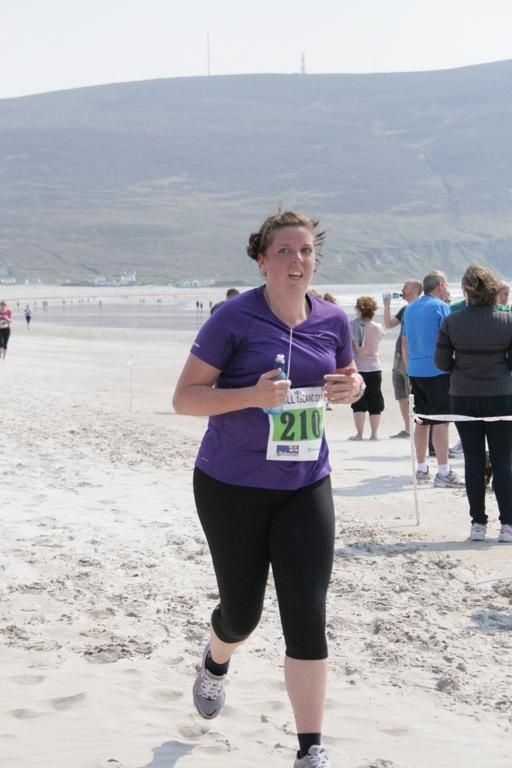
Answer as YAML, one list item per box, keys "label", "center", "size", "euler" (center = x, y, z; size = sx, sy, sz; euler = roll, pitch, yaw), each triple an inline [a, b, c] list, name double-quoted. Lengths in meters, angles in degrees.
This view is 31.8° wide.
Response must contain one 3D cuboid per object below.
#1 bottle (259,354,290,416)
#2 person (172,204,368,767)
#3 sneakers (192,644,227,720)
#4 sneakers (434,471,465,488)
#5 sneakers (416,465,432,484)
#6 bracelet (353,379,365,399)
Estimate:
- label: "bottle"
  center: [0.064, 0.004, 2.902]
  size: [0.076, 0.206, 0.192]
  euler: [1, 2, 1]
- label: "person"
  center: [0.025, 0.322, 3.067]
  size: [0.616, 1.834, 0.623]
  euler: [1, 2, 10]
- label: "sneakers"
  center: [-0.188, 1.118, 3.431]
  size: [0.117, 0.301, 0.137]
  euler: [2, 4, -18]
- label: "sneakers"
  center: [1.781, 0.848, 8.017]
  size: [0.357, 0.165, 0.112]
  euler: [2, 10, -22]
- label: "sneakers"
  center: [1.550, 0.817, 8.226]
  size: [0.122, 0.135, 0.312]
  euler: [1, 9, 12]
- label: "bracelet"
  center: [0.373, 0.013, 3.211]
  size: [0.060, 0.066, 0.027]
  euler: [-8, -23, 33]
